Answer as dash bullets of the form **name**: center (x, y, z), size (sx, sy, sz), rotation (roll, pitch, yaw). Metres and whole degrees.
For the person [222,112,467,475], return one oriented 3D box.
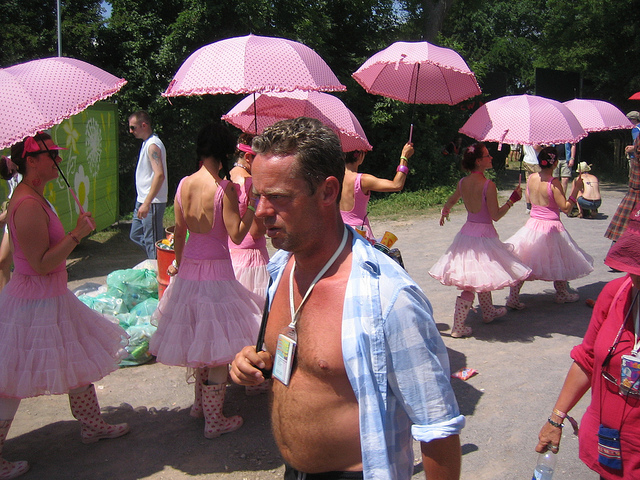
- **person**: center (0.131, 0.325, 2.730), size (1.214, 1.776, 0.463), rotation (11, 14, 34)

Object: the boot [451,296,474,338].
- **boot**: center (1.715, 0.923, 6.619), size (0.306, 0.456, 0.196), rotation (-6, 14, -34)

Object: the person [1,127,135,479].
- **person**: center (-2.268, 0.361, 4.849), size (0.999, 2.694, 1.533), rotation (-2, 13, -22)

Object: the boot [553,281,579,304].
- **boot**: center (3.434, 0.716, 7.707), size (0.470, 0.325, 0.191), rotation (-2, 12, -20)

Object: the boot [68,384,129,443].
- **boot**: center (-1.909, 1.464, 4.842), size (0.650, 0.430, 0.286), rotation (1, 7, 1)

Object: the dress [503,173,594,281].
- **dress**: center (3.126, -0.187, 7.671), size (0.943, 1.407, 1.262), rotation (-2, -2, -35)

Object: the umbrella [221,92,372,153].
- **umbrella**: center (-0.246, -1.501, 6.493), size (1.364, 0.586, 1.469), rotation (4, -1, -16)

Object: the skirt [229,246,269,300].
- **skirt**: center (-0.750, 0.262, 5.861), size (0.383, 0.578, 0.542), rotation (9, 10, 15)

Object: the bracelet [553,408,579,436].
- **bracelet**: center (1.548, 1.123, 3.425), size (0.211, 0.052, 0.197), rotation (43, -1, 37)

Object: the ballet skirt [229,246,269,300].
- **ballet skirt**: center (-0.751, 0.298, 5.831), size (0.490, 0.560, 0.411), rotation (-1, 6, 5)

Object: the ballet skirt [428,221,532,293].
- **ballet skirt**: center (2.001, 0.099, 6.857), size (1.247, 0.775, 1.129), rotation (-10, 17, -29)

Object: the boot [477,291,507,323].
- **boot**: center (2.153, 0.834, 6.971), size (0.505, 0.443, 0.166), rotation (-4, 13, -28)

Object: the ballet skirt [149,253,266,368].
- **ballet skirt**: center (-0.931, 0.371, 5.072), size (1.067, 1.180, 0.976), rotation (2, 6, 16)

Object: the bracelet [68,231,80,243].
- **bracelet**: center (-1.930, -0.017, 4.306), size (0.069, 0.021, 0.071), rotation (41, -9, 39)

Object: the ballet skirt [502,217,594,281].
- **ballet skirt**: center (3.086, 0.163, 7.333), size (0.953, 0.964, 0.896), rotation (17, 16, 29)

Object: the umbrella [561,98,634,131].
- **umbrella**: center (4.310, -1.938, 8.750), size (1.029, 0.436, 1.127), rotation (-6, 13, -2)

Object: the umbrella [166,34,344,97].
- **umbrella**: center (-0.543, -1.448, 4.669), size (0.833, 0.336, 0.852), rotation (-12, 17, -32)

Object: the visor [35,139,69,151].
- **visor**: center (-2.183, -0.772, 4.481), size (0.138, 0.089, 0.281), rotation (2, 13, -4)
